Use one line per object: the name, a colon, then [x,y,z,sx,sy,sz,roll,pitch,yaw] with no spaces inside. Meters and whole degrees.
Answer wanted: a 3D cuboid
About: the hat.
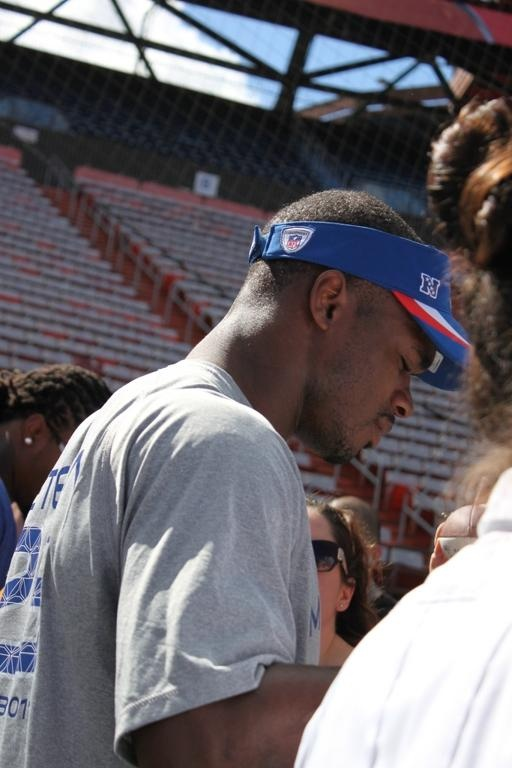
hat: [0.166,-0.131,1.496,0.317,0.117,0.199,23,-8,-3]
